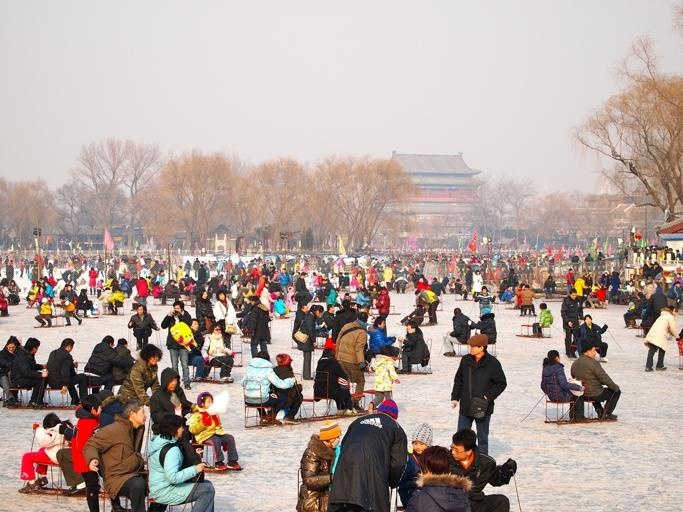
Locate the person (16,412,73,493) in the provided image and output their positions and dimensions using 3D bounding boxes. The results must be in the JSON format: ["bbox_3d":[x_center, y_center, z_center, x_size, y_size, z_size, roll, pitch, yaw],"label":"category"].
[{"bbox_3d":[-5.006,3.308,18.067,0.692,1.365,0.560,4,5,-7],"label":"person"}]

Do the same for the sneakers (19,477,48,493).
[{"bbox_3d":[-5.126,3.853,17.873,0.479,0.234,0.172,0,3,-10],"label":"sneakers"}]

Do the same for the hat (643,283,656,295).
[{"bbox_3d":[9.112,0.984,31.662,0.295,0.538,0.502,0,-2,5],"label":"hat"}]

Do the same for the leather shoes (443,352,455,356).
[{"bbox_3d":[2.762,2.531,27.551,0.279,0.139,0.099,-7,4,-9],"label":"leather shoes"}]

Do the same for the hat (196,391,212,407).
[{"bbox_3d":[-2.378,2.519,18.508,0.222,0.296,0.303,2,-29,-14],"label":"hat"}]

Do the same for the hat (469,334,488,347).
[{"bbox_3d":[2.276,1.401,17.856,0.248,0.113,0.190,3,7,8],"label":"hat"}]

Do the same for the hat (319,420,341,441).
[{"bbox_3d":[-0.168,2.622,16.037,0.293,0.246,0.230,-15,3,-7],"label":"hat"}]

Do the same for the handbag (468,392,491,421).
[{"bbox_3d":[2.297,2.514,17.851,0.392,0.447,0.164,0,-4,1],"label":"handbag"}]

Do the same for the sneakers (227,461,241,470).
[{"bbox_3d":[-1.871,3.648,18.532,0.094,0.134,0.283,2,1,-31],"label":"sneakers"}]

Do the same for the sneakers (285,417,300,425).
[{"bbox_3d":[-0.960,3.214,20.769,0.283,0.146,0.119,0,1,-13],"label":"sneakers"}]

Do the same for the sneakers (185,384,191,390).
[{"bbox_3d":[-3.314,2.830,23.058,0.126,0.139,0.066,1,2,-5],"label":"sneakers"}]

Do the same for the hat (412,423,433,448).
[{"bbox_3d":[1.276,2.791,16.585,0.286,0.385,0.355,6,-5,10],"label":"hat"}]

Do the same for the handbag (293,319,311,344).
[{"bbox_3d":[-0.900,1.682,23.755,0.355,0.511,0.144,30,-20,-31],"label":"handbag"}]

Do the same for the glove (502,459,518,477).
[{"bbox_3d":[2.532,3.184,15.984,0.195,0.291,0.265,-2,3,-35],"label":"glove"}]

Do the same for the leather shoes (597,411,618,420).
[{"bbox_3d":[5.240,3.159,21.103,0.353,0.171,0.134,0,-1,-5],"label":"leather shoes"}]

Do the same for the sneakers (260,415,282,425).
[{"bbox_3d":[-1.389,3.177,20.683,0.472,0.231,0.173,-2,0,1],"label":"sneakers"}]
